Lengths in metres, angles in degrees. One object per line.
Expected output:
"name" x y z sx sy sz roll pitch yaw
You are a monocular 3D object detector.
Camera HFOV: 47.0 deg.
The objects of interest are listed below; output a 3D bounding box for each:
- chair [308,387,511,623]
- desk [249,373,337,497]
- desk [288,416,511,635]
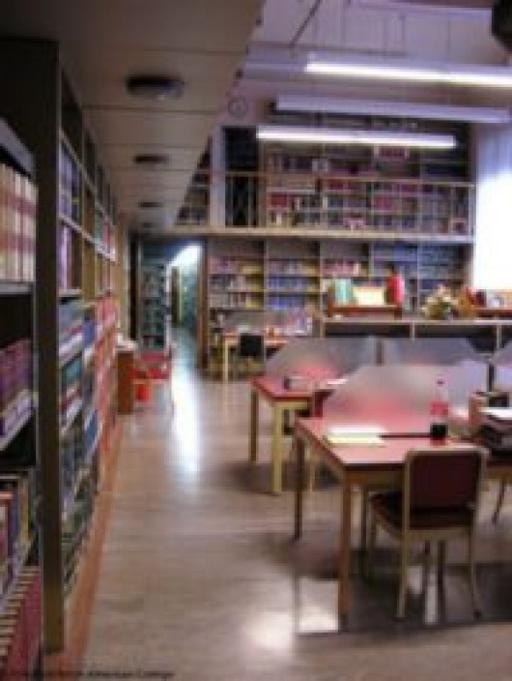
"chair" 0.629 0.733 2.808 0.666 0.592 0.840 0 8 -6
"desk" 0.248 0.580 4.618 0.589 0.855 1.148 1 5 -3
"desk" 0.556 0.723 2.759 0.625 0.530 0.989 1 4 -7
